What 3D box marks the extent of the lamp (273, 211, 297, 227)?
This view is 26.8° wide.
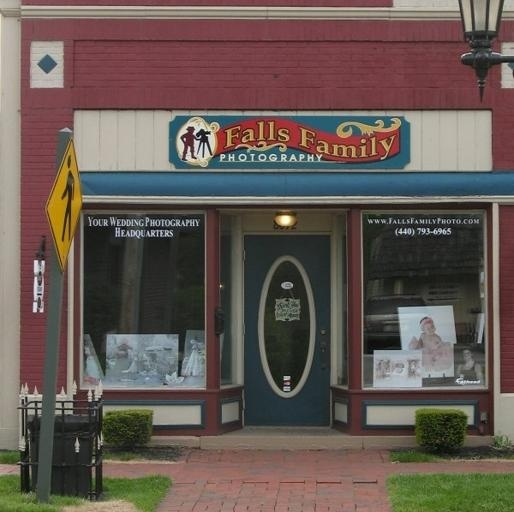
[{"bbox_3d":[0.380,-0.485,14.711,0.314,0.272,0.302,2,7,0],"label":"lamp"}]

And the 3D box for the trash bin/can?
[{"bbox_3d":[-2.056,2.055,11.328,0.742,0.816,0.476,2,7,-2],"label":"trash bin/can"}]
